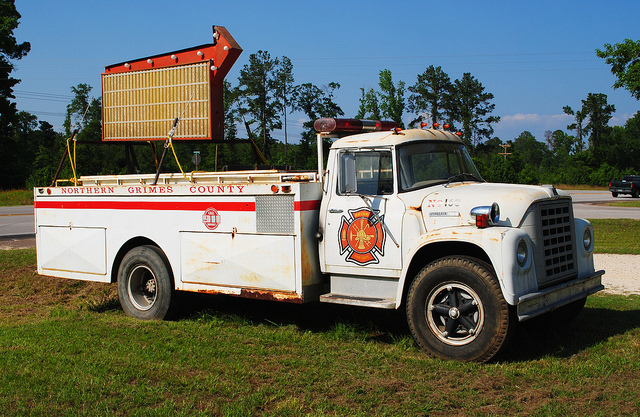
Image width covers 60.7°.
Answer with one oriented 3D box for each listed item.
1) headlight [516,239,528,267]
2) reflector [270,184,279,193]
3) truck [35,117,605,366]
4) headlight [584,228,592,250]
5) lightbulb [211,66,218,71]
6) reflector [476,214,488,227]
[{"bbox_3d":[2.722,0.601,7.410,0.092,0.345,0.294,5,9,40],"label":"headlight"},{"bbox_3d":[-0.712,-0.311,8.582,0.112,0.117,0.028,30,6,18],"label":"reflector"},{"bbox_3d":[-0.287,0.287,8.833,8.431,3.426,1.867,2,7,21],"label":"truck"},{"bbox_3d":[4.290,0.475,8.777,0.078,0.276,0.261,-1,19,16],"label":"headlight"},{"bbox_3d":[-2.068,-2.731,10.640,0.056,0.061,0.110,1,14,23],"label":"lightbulb"},{"bbox_3d":[2.212,0.179,7.584,0.178,0.196,0.139,0,-4,-5],"label":"reflector"}]
